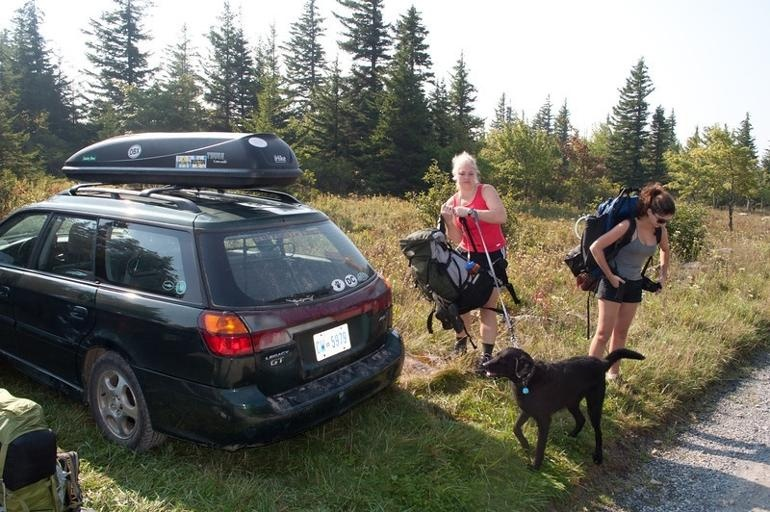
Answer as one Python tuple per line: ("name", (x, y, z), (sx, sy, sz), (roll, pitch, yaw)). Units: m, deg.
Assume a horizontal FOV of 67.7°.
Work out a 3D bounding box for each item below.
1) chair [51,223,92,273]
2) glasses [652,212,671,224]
("chair", (-3.508, -0.095, 6.380), (0.345, 0.622, 0.395), (3, -8, 20))
("glasses", (3.210, -0.435, 6.640), (0.151, 0.192, 0.063), (-3, -30, -20))
